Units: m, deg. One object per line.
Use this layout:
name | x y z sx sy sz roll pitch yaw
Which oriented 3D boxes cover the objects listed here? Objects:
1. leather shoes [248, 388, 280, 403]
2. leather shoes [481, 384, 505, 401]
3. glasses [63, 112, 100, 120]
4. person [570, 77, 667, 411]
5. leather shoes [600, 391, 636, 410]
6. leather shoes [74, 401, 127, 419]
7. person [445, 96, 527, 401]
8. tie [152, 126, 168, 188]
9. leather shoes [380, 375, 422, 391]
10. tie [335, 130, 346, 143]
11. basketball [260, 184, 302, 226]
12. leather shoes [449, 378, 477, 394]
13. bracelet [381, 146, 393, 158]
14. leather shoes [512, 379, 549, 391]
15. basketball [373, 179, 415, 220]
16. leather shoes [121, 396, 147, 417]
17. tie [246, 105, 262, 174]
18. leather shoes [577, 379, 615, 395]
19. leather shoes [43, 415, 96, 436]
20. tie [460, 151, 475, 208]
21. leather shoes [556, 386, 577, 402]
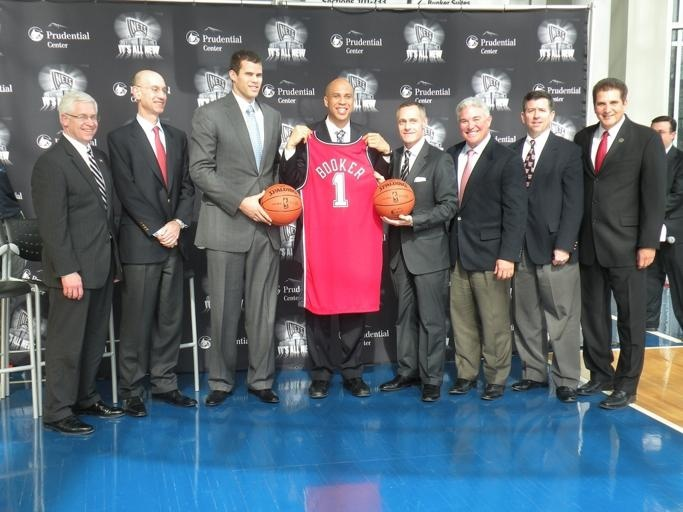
leather shoes | -0.599 1.070 4.729 0.235 0.106 0.088 5 4 38
leather shoes | 1.157 1.057 4.723 0.079 0.093 0.228 -10 -10 34
glasses | -1.781 -0.948 4.201 0.183 0.051 0.073 -10 16 -33
person | 1.993 -0.086 4.530 0.612 2.356 0.567 7 15 31
leather shoes | 2.054 1.062 4.547 0.310 0.117 0.112 3 -17 -30
leather shoes | -1.745 1.127 4.450 0.375 0.159 0.130 3 -6 -8
person | 1.059 -0.040 4.665 0.602 2.245 0.445 6 14 26
tie | -1.319 -0.721 4.470 0.075 0.469 0.038 -6 -1 -31
leather shoes | 0.469 1.023 4.982 0.362 0.143 0.124 1 -2 -16
tie | -0.017 -0.901 4.654 0.063 0.100 0.023 2 -2 -10
basketball | -0.425 -0.359 4.403 0.265 0.314 0.285 2 4 11
leather shoes | 0.971 1.025 4.869 0.273 0.119 0.094 4 -32 -34
bracelet | 0.350 -0.799 4.687 0.087 0.068 0.117 0 -36 8
leather shoes | 1.495 1.017 4.899 0.293 0.111 0.101 3 -1 -12
basketball | 0.388 -0.407 4.533 0.277 0.291 0.274 -2 11 40
leather shoes | -1.510 1.105 4.513 0.106 0.090 0.202 6 -3 -34
tie | -0.647 -0.894 4.577 0.112 0.460 0.081 6 14 25
leather shoes | 1.956 1.028 4.808 0.302 0.137 0.112 2 -4 -6
leather shoes | -1.846 1.154 4.247 0.353 0.146 0.134 3 -4 1
tie | 0.941 -0.597 4.678 0.071 0.463 0.051 13 -6 45
leather shoes | 1.703 1.051 4.648 0.069 0.068 0.164 -3 0 -4
